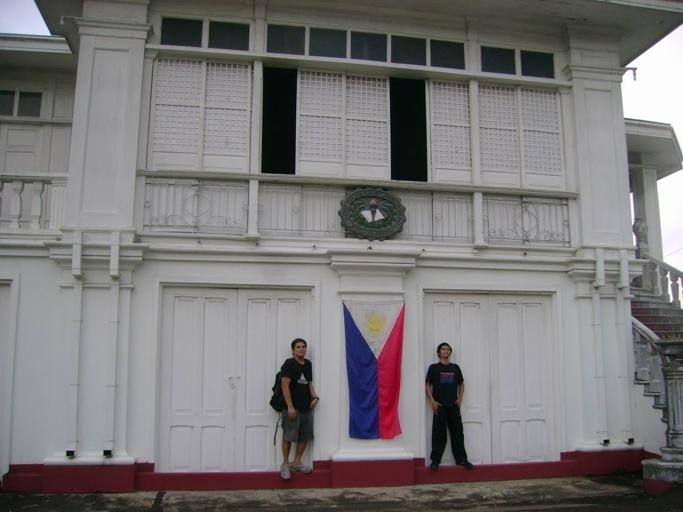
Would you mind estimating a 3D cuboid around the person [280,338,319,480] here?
[{"bbox_3d":[-0.777,2.711,13.110,0.751,2.429,0.554,-2,7,-25],"label":"person"}]

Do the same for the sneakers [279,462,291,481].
[{"bbox_3d":[-0.995,3.810,12.968,0.202,0.311,0.166,0,7,-6],"label":"sneakers"}]

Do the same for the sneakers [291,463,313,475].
[{"bbox_3d":[-0.723,3.760,13.032,0.409,0.181,0.150,2,-3,5],"label":"sneakers"}]

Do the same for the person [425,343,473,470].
[{"bbox_3d":[1.938,2.756,13.558,0.753,2.240,0.566,0,6,-9],"label":"person"}]

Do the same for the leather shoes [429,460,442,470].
[{"bbox_3d":[1.705,3.808,13.404,0.212,0.170,0.098,-1,7,-17],"label":"leather shoes"}]

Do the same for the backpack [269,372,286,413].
[{"bbox_3d":[-1.174,2.435,13.078,0.237,0.779,0.434,-2,7,-20],"label":"backpack"}]

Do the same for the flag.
[{"bbox_3d":[0.561,2.062,13.351,0.981,2.344,0.564,0,6,-6],"label":"flag"}]
